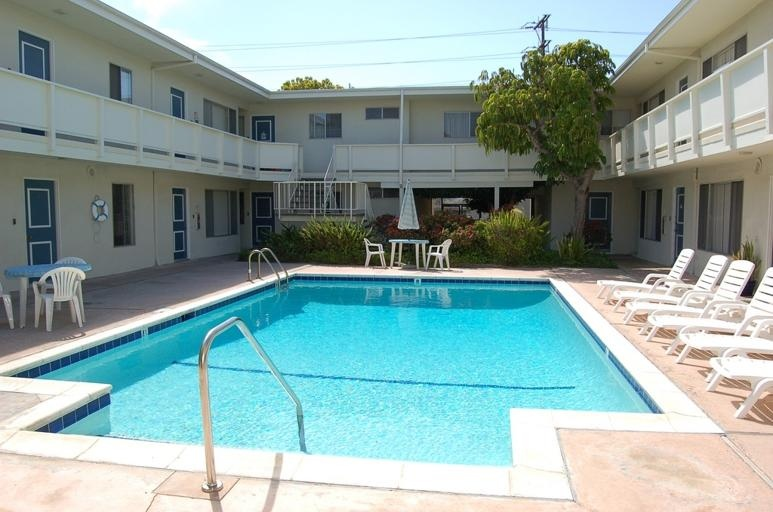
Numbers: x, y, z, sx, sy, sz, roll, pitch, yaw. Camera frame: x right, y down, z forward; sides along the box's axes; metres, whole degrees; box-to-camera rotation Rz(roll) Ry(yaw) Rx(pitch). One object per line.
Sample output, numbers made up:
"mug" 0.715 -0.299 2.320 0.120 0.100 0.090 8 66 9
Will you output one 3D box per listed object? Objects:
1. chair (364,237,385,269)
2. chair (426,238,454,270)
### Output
"chair" -0.425 -0.100 18.579 0.870 1.277 0.942 -1 5 7
"chair" 1.814 -0.053 18.180 0.966 1.398 0.994 5 8 41
